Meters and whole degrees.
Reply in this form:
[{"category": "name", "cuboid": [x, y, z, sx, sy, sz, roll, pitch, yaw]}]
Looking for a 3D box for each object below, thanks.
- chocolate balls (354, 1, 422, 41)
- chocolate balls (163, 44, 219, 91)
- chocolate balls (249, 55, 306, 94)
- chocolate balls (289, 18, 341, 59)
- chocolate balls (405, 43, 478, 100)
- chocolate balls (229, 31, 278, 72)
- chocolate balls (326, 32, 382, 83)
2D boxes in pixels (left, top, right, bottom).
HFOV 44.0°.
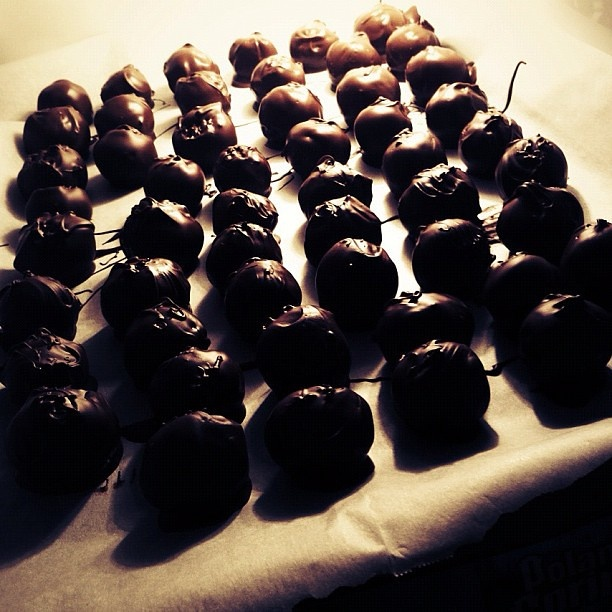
[{"category": "chocolate balls", "cuboid": [0.238, -0.848, 2.214, 0.141, 0.065, 0.157, 20, 46, 31]}, {"category": "chocolate balls", "cuboid": [-0.331, -0.664, 2.190, 0.116, 0.149, 0.122, 22, 37, -17]}, {"category": "chocolate balls", "cuboid": [-0.082, -0.611, 2.058, 0.108, 0.106, 0.131, -3, 6, 1]}, {"category": "chocolate balls", "cuboid": [0.013, -0.769, 2.205, 0.117, 0.067, 0.113, 1, 69, -2]}, {"category": "chocolate balls", "cuboid": [0.347, -0.602, 1.999, 0.151, 0.143, 0.154, -5, 40, 4]}, {"category": "chocolate balls", "cuboid": [-0.144, -0.729, 2.206, 0.116, 0.107, 0.115, -5, 30, 3]}, {"category": "chocolate balls", "cuboid": [0.114, -0.666, 2.113, 0.146, 0.151, 0.138, 3, 3, 0]}]
